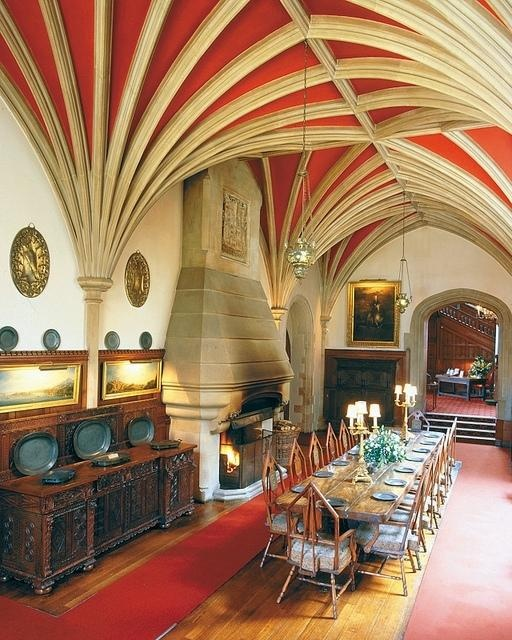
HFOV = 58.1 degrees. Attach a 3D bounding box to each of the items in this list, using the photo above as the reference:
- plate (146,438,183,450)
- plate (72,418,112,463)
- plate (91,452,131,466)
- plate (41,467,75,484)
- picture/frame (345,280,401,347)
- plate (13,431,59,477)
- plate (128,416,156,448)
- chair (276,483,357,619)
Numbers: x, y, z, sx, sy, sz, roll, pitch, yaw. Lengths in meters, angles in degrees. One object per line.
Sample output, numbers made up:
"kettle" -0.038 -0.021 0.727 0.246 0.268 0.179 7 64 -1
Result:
"plate" -1.138 1.583 5.870 0.319 0.087 0.419 -2 -6 40
"plate" -1.902 1.387 5.316 0.040 0.441 0.504 -3 -4 26
"plate" -1.530 1.515 5.033 0.295 0.081 0.499 0 -5 29
"plate" -1.817 1.448 4.276 0.258 0.050 0.418 3 -5 -14
"picture/frame" 3.265 -0.193 12.580 1.723 2.328 0.159 1 -1 26
"plate" -2.196 1.330 4.572 0.035 0.345 0.464 -5 -8 23
"plate" -1.531 1.495 6.157 0.041 0.303 0.410 -2 -5 22
"chair" 0.537 1.887 3.941 0.561 0.995 0.575 -2 -2 40
